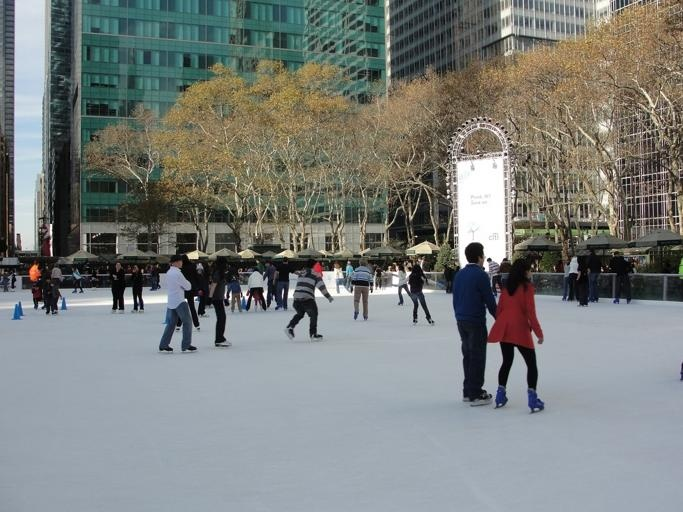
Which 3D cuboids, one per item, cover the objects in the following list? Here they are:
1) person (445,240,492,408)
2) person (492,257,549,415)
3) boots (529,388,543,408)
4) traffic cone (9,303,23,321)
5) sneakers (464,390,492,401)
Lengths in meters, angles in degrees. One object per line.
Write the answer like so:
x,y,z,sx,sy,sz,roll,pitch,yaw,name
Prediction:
2.386,1.183,15.994,0.649,2.821,0.786,-2,4,-22,person
3.033,1.336,15.651,0.912,2.572,0.915,1,4,11,person
3.288,2.439,15.331,0.257,0.372,0.260,1,4,14,boots
-11.547,2.032,32.262,0.458,0.765,0.512,0,-4,-15,traffic cone
2.395,2.487,15.926,0.447,0.226,0.208,-4,2,-7,sneakers
